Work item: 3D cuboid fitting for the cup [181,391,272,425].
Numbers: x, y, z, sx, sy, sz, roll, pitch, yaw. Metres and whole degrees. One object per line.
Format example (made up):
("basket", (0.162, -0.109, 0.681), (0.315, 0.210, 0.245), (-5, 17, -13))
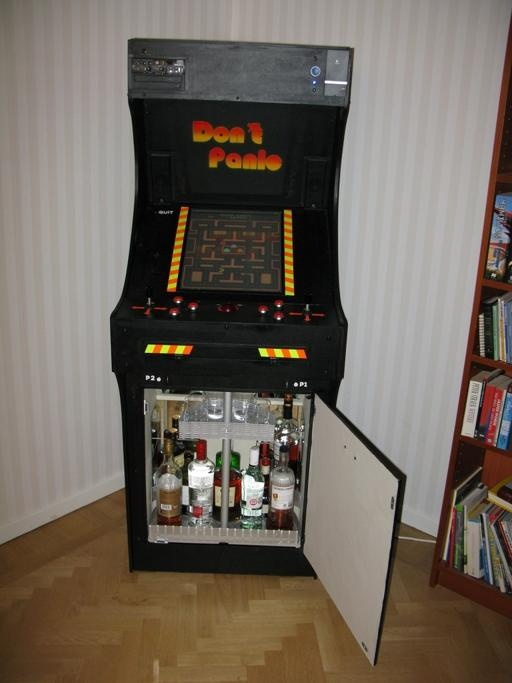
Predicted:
("cup", (-0.100, 0.212, 1.858), (0.296, 0.106, 0.196), (2, 14, -2))

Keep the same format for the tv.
("tv", (-0.078, -0.306, 1.863), (0.328, 0.247, 0.267), (2, 14, -2))
